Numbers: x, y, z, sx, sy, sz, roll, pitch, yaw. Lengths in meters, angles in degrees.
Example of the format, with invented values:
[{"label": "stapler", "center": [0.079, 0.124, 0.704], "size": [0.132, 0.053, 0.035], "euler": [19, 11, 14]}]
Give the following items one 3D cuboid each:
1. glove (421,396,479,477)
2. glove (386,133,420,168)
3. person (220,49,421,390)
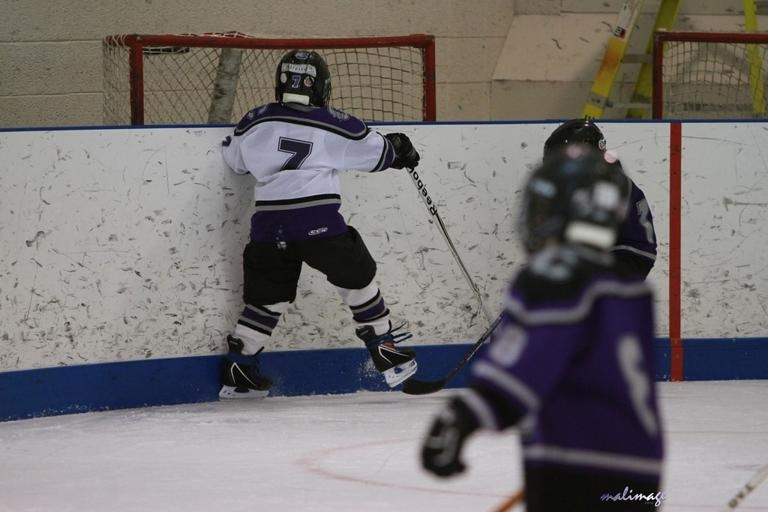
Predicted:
[{"label": "glove", "center": [0.178, 0.552, 2.466], "size": [0.135, 0.054, 0.243], "euler": [6, 16, 9]}, {"label": "glove", "center": [0.104, -0.553, 4.498], "size": [0.197, 0.170, 0.148], "euler": [-24, 32, -36]}, {"label": "person", "center": [-0.361, -0.143, 4.413], "size": [1.006, 1.733, 0.384], "euler": [-1, 14, 0]}]
